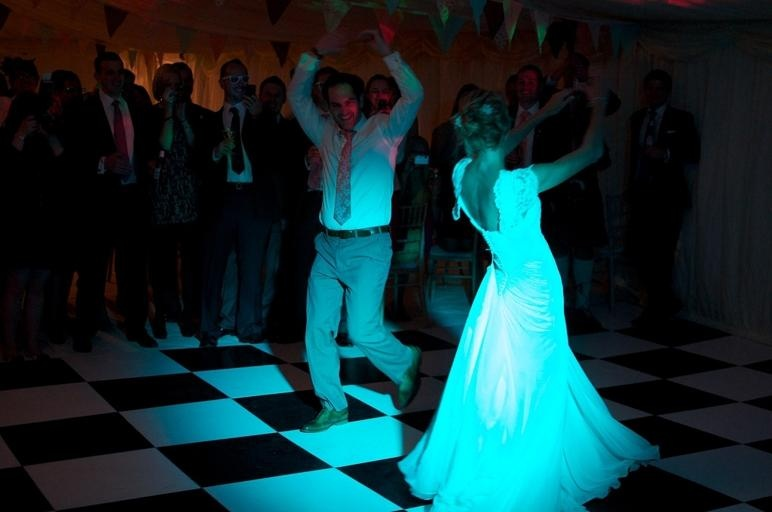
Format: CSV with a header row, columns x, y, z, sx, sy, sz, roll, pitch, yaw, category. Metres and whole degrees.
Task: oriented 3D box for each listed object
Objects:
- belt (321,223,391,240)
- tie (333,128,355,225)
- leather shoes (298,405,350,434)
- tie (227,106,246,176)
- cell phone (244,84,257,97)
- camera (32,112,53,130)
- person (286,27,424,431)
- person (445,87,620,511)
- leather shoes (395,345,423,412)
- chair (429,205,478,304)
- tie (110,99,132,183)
x,y,z,sx,sy,sz,roll,pitch,yaw,category
-0.177,-0.144,3.436,0.383,0.076,0.142,0,13,-5,belt
-0.239,-0.454,3.405,0.091,0.530,0.176,2,14,4,tie
-0.346,0.948,3.508,0.313,0.138,0.110,-4,5,-24,leather shoes
-1.187,-0.919,4.719,0.096,0.507,0.213,-3,14,-15,tie
-1.076,-1.308,4.690,0.087,0.098,0.169,-2,13,-14,cell phone
-2.407,-0.958,4.193,0.073,0.115,0.125,0,-1,-1,camera
-0.163,-0.148,3.482,0.731,2.226,0.610,-2,14,-13,person
0.599,0.212,2.695,0.698,1.913,0.674,2,14,5,person
0.125,0.724,3.688,0.168,0.439,0.149,8,-39,8,leather shoes
0.680,-0.031,5.661,0.616,1.003,0.589,3,-2,-4,chair
-2.037,-0.847,4.565,0.089,0.167,0.810,7,-35,-14,tie
